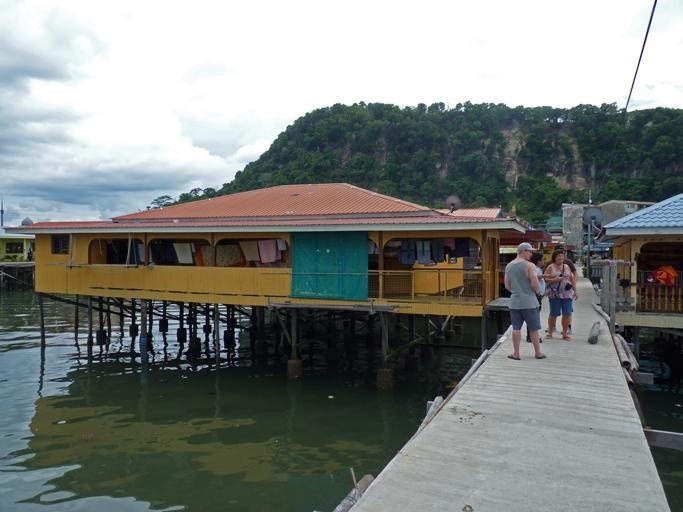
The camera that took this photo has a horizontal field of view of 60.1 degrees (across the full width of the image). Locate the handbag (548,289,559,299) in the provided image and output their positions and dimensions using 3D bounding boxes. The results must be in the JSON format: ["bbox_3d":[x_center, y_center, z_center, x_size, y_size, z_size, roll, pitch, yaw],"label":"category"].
[{"bbox_3d":[5.129,0.925,14.308,0.260,0.243,0.076,3,8,31],"label":"handbag"}]

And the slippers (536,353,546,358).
[{"bbox_3d":[4.359,2.190,12.912,0.258,0.090,0.088,-6,5,-23],"label":"slippers"}]

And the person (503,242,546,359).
[{"bbox_3d":[4.026,1.000,12.873,0.852,2.577,1.007,1,8,18],"label":"person"}]

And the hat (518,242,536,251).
[{"bbox_3d":[3.993,-0.192,12.658,0.302,0.143,0.213,-9,6,6],"label":"hat"}]

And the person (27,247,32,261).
[{"bbox_3d":[-34.337,-0.150,64.931,0.532,1.226,1.616,-5,8,-24],"label":"person"}]

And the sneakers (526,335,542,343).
[{"bbox_3d":[4.632,2.013,14.186,0.209,0.224,0.596,-1,-8,6],"label":"sneakers"}]
